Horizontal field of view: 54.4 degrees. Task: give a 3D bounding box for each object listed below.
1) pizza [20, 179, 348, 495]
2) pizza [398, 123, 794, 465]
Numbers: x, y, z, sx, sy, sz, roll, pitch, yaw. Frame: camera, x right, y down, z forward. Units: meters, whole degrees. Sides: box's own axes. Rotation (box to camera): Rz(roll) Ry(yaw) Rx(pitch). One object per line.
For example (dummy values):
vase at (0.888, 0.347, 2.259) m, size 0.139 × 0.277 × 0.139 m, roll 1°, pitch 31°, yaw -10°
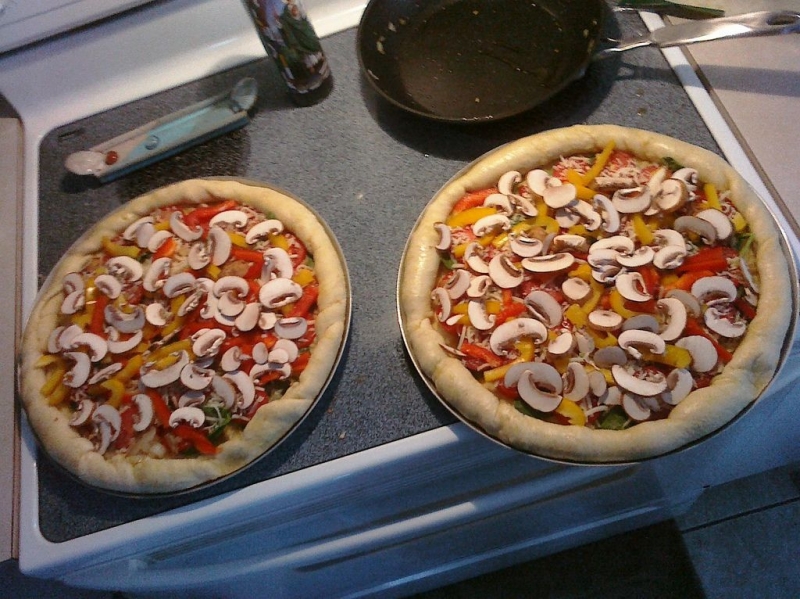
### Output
pizza at (-0.913, 0.136, 3.262) m, size 1.306 × 0.196 × 1.419 m, roll 22°, pitch 71°, yaw 15°
pizza at (0.794, -0.040, 3.148) m, size 1.540 × 0.275 × 1.431 m, roll 19°, pitch 71°, yaw 14°
